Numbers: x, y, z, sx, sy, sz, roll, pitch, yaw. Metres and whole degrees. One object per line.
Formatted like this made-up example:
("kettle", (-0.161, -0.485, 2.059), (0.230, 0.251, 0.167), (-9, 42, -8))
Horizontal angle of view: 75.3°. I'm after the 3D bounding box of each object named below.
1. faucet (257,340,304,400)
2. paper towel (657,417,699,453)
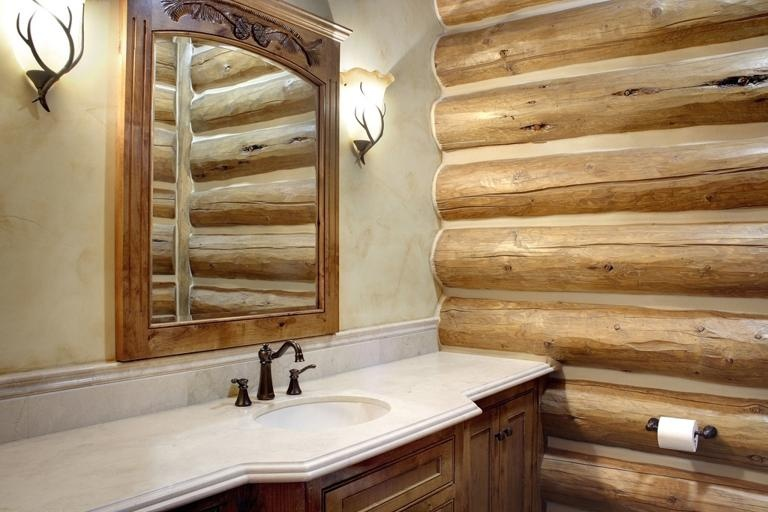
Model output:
("faucet", (-0.474, 0.509, 2.211), (0.139, 0.271, 0.265), (0, -2, -28))
("paper towel", (1.539, 0.952, 2.636), (0.195, 0.126, 0.146), (-8, 1, 30))
